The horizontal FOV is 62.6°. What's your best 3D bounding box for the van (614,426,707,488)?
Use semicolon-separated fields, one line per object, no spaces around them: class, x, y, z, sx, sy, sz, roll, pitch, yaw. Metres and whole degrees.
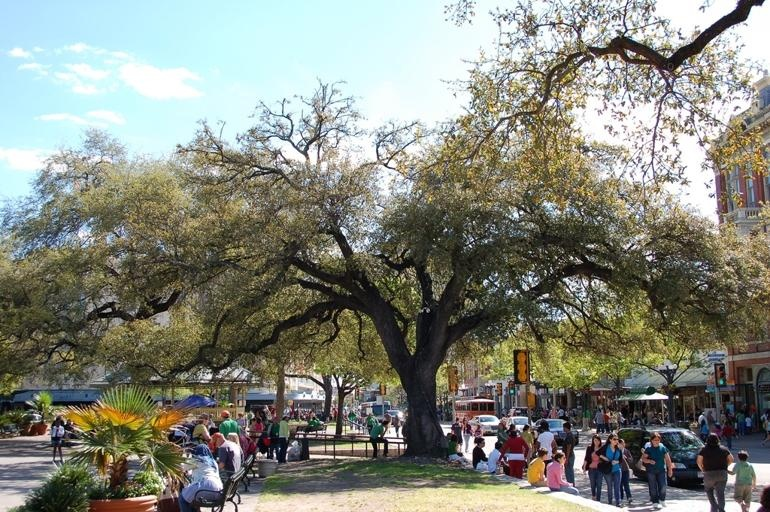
van;11.016;7.412;24.325;2.191;1.961;4.508;4;-23;-11

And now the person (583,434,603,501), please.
person;6.777;6.805;20.348;0.698;2.205;0.640;2;8;26

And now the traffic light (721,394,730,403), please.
traffic light;28.404;11.695;52.699;0.437;0.845;0.835;-2;-5;-32

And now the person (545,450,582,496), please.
person;5.525;6.738;19.673;0.908;1.401;0.690;-2;-5;14

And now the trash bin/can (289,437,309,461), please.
trash bin/can;-4.229;9.272;30.402;0.870;1.083;1.519;1;-31;-1

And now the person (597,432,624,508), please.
person;7.260;6.715;20.182;0.625;2.141;0.785;-8;-17;28

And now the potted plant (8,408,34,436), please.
potted plant;-26.925;12.132;46.895;1.449;1.589;1.528;-6;-10;15

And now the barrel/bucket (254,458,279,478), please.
barrel/bucket;-4.475;7.869;23.788;0.637;0.487;0.669;-1;-16;0
